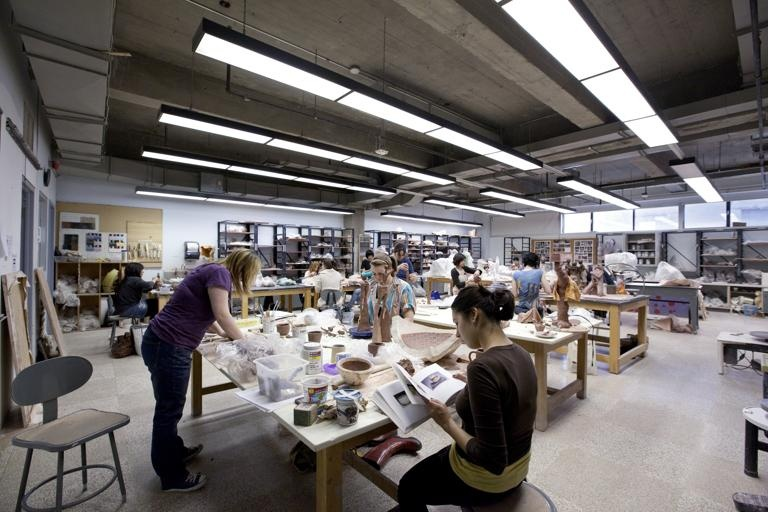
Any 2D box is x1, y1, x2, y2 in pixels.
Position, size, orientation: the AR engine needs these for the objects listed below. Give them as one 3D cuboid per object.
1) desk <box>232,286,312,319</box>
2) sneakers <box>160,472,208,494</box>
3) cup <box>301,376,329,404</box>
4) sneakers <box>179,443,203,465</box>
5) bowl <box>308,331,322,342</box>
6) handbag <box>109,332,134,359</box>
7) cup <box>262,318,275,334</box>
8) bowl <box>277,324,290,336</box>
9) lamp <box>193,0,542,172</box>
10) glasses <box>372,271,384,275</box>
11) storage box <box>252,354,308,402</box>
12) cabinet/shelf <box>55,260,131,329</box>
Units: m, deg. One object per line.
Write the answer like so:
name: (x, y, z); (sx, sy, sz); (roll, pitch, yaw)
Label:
desk: (-2.306, 0.956, 9.199); (1.474, 0.689, 1.152); (-1, 4, -32)
sneakers: (-1.967, 2.284, 4.578); (0.455, 0.184, 0.173); (0, -4, -7)
cup: (-0.574, 1.132, 3.828); (0.219, 0.150, 0.212); (-1, 0, 0)
sneakers: (-2.048, 2.138, 4.920); (0.115, 0.135, 0.335); (1, 3, 28)
bowl: (-0.695, 0.823, 4.578); (0.111, 0.085, 0.111); (-1, -8, 0)
handbag: (-4.215, 1.451, 7.347); (0.306, 0.399, 0.323); (-1, 0, -40)
cup: (-1.248, 0.776, 4.947); (0.148, 0.157, 0.145); (0, -5, 0)
bowl: (-1.086, 0.805, 4.919); (0.128, 0.091, 0.118); (-4, -6, 0)
lamp: (-0.096, -2.021, 5.812); (4.282, 0.991, 0.459); (0, 0, -33)
glasses: (-0.067, 0.204, 5.403); (0.129, 0.046, 0.065); (-1, -1, 28)
storage box: (-0.910, 1.081, 4.128); (0.439, 0.275, 0.374); (-1, 1, -44)
cabinet/shelf: (-6.064, 0.851, 9.476); (0.500, 1.479, 1.623); (6, 0, -5)
